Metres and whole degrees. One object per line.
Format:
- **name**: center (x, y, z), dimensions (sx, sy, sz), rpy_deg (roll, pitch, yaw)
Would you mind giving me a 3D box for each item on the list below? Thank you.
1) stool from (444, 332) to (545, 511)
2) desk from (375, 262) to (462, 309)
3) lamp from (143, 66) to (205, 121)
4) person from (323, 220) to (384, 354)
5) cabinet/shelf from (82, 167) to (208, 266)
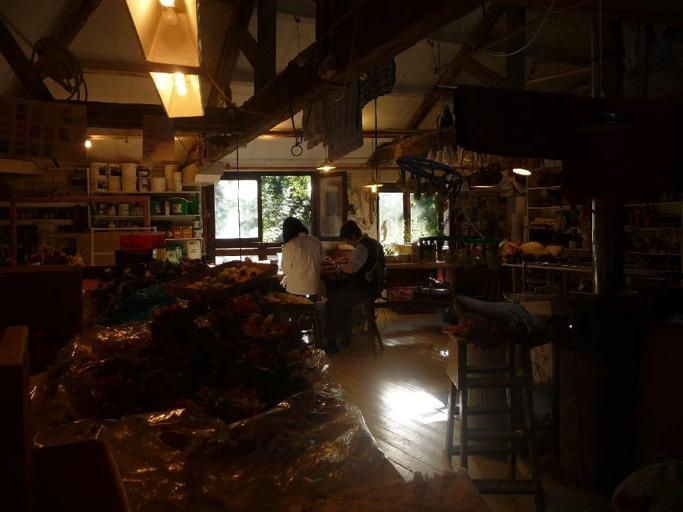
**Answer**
- **stool**: center (0.937, 1.020, 3.508), dimensions (0.352, 0.915, 0.959), rpy_deg (0, -1, -4)
- **desk**: center (1.167, 0.522, 8.836), dimensions (1.013, 0.847, 1.910), rpy_deg (0, 0, 4)
- **lamp**: center (-1.402, -1.369, 4.842), dimensions (0.431, 0.492, 0.218), rpy_deg (-2, 23, 30)
- **person**: center (0.141, 0.341, 6.951), dimensions (0.708, 1.548, 0.663), rpy_deg (0, 0, -4)
- **cabinet/shelf**: center (-2.893, -0.597, 8.172), dimensions (1.346, 1.503, 0.469), rpy_deg (-1, -1, -23)
